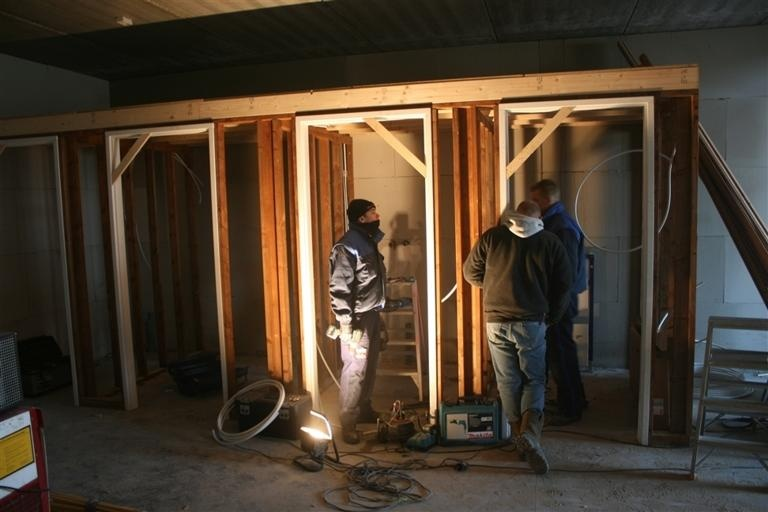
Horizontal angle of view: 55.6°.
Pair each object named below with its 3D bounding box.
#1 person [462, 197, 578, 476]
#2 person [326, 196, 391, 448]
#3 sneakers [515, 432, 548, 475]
[{"bbox_3d":[1.294,0.756,6.960,0.976,2.547,0.533,-1,4,10],"label":"person"},{"bbox_3d":[-0.259,0.654,7.495,0.300,2.462,0.584,2,5,45],"label":"person"},{"bbox_3d":[1.375,1.833,6.877,0.227,0.429,0.203,-33,-4,4],"label":"sneakers"}]
